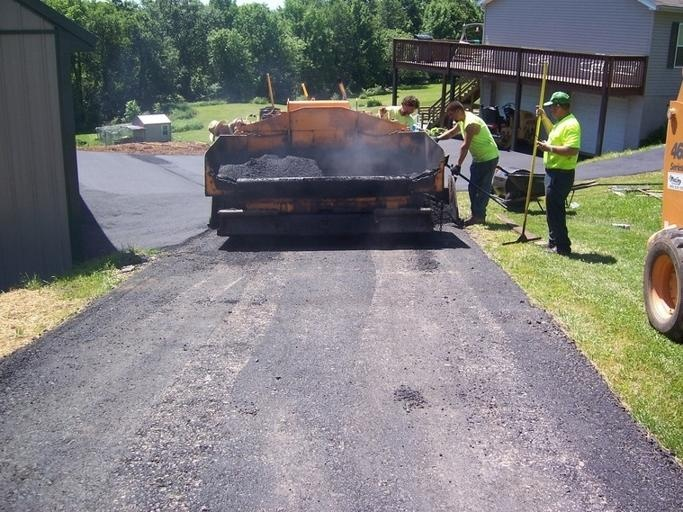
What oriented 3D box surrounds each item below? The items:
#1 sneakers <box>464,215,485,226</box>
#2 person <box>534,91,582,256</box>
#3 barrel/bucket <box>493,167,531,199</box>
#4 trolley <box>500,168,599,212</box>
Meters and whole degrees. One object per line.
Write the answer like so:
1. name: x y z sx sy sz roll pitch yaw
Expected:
1. sneakers: 2.582 -0.695 9.601 0.452 0.272 0.180 -2 9 -7
2. person: 3.407 -1.301 7.832 0.661 2.393 1.068 6 19 23
3. barrel/bucket: 3.560 -1.563 10.556 0.584 0.813 0.838 -3 16 -16
4. trolley: 4.110 -1.431 10.480 1.534 0.855 0.919 -4 25 -5
